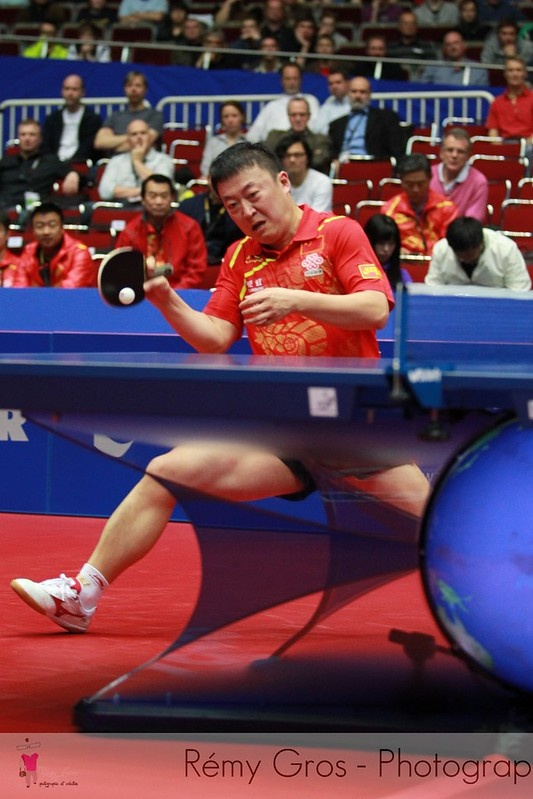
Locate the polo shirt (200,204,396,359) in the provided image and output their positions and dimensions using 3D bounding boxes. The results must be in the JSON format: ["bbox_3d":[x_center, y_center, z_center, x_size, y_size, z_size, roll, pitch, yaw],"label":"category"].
[{"bbox_3d":[0.073,-0.298,1.919,0.483,0.415,0.230,-6,11,22],"label":"polo shirt"}]

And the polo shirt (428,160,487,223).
[{"bbox_3d":[1.499,-1.672,5.841,0.520,0.476,0.280,17,22,24],"label":"polo shirt"}]

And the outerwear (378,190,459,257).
[{"bbox_3d":[1.187,-1.321,5.423,0.520,0.487,0.296,-6,43,15],"label":"outerwear"}]

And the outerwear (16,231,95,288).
[{"bbox_3d":[-1.447,-0.970,5.113,0.479,0.437,0.614,0,13,9],"label":"outerwear"}]
